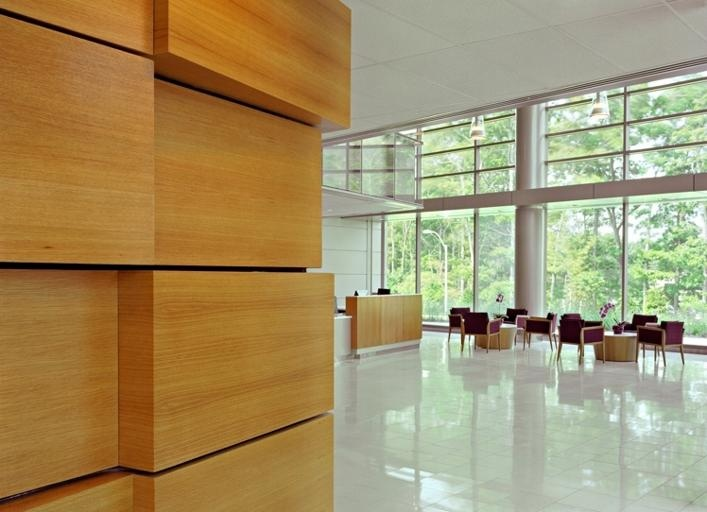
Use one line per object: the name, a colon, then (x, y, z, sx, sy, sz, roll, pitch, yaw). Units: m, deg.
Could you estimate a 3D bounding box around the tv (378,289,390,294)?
tv: (0.890, 1.043, 15.552, 0.188, 0.177, 0.349, -5, -7, 43)
